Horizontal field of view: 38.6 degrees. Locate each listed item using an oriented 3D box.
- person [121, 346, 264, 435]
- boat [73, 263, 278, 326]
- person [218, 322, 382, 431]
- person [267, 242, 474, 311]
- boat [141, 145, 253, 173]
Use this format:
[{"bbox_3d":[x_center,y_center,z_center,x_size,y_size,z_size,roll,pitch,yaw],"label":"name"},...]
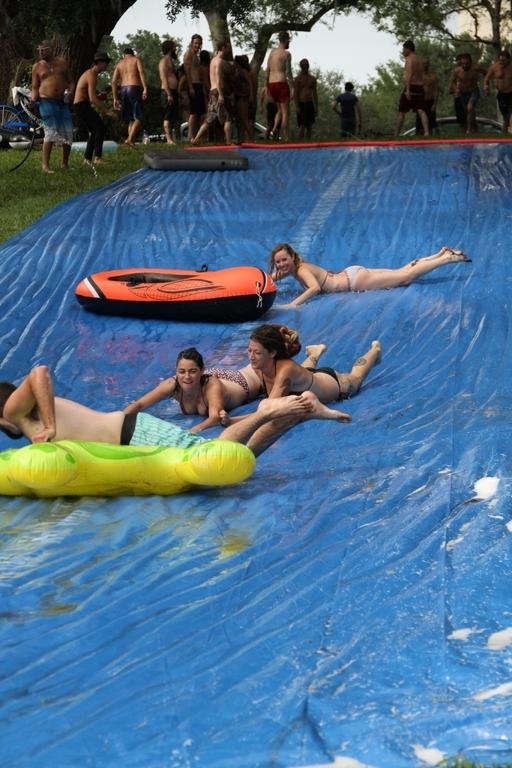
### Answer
[{"bbox_3d":[-0.317,-0.011,5.152,0.571,0.306,0.814,0,12,19],"label":"person"},{"bbox_3d":[-0.786,-0.966,7.053,1.628,0.449,0.758,3,6,7],"label":"boat"},{"bbox_3d":[0.326,-0.131,5.147,0.501,0.575,1.379,-13,3,42],"label":"person"},{"bbox_3d":[1.044,-1.069,7.152,1.551,0.425,0.828,-10,21,17],"label":"person"},{"bbox_3d":[-0.884,-3.339,10.922,1.523,0.416,0.760,-1,10,-1],"label":"boat"}]
